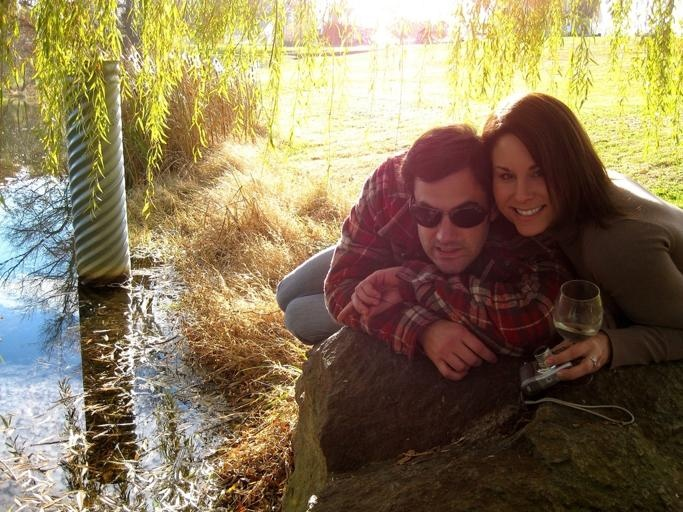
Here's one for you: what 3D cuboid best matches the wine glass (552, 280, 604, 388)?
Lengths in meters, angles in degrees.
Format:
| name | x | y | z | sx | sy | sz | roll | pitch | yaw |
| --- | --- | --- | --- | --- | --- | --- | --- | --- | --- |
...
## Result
| name | x | y | z | sx | sy | sz | roll | pitch | yaw |
| --- | --- | --- | --- | --- | --- | --- | --- | --- | --- |
| wine glass | 0.785 | 0.249 | 1.806 | 0.128 | 0.339 | 0.136 | -25 | 35 | -21 |

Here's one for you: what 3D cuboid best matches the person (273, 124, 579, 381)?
| name | x | y | z | sx | sy | sz | roll | pitch | yaw |
| --- | --- | --- | --- | --- | --- | --- | --- | --- | --- |
| person | 0.382 | -0.055 | 2.457 | 0.801 | 0.914 | 1.456 | -17 | 19 | -42 |

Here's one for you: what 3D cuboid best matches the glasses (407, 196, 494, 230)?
| name | x | y | z | sx | sy | sz | roll | pitch | yaw |
| --- | --- | --- | --- | --- | --- | --- | --- | --- | --- |
| glasses | 0.421 | -0.159 | 2.102 | 0.301 | 0.116 | 0.114 | 4 | 12 | 10 |

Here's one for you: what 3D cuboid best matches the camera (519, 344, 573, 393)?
| name | x | y | z | sx | sy | sz | roll | pitch | yaw |
| --- | --- | --- | --- | --- | --- | --- | --- | --- | --- |
| camera | 0.670 | 0.394 | 1.806 | 0.165 | 0.089 | 0.125 | -29 | 45 | 23 |

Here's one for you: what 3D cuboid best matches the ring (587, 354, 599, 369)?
| name | x | y | z | sx | sy | sz | roll | pitch | yaw |
| --- | --- | --- | --- | --- | --- | --- | --- | --- | --- |
| ring | 0.838 | 0.346 | 1.786 | 0.024 | 0.041 | 0.038 | -14 | 17 | -1 |
